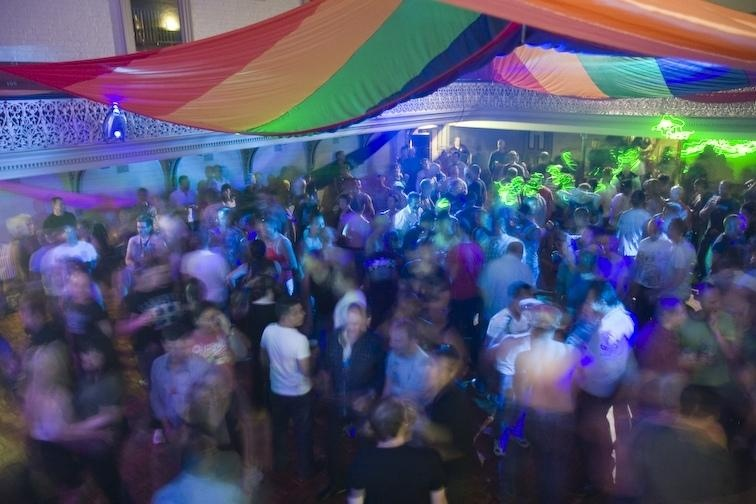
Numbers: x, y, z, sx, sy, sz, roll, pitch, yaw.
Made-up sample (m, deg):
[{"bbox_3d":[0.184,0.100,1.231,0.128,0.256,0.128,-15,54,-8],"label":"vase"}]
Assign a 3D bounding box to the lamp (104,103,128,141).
[{"bbox_3d":[-3.743,-1.819,8.022,0.291,0.696,0.372,-2,-13,-24],"label":"lamp"}]
